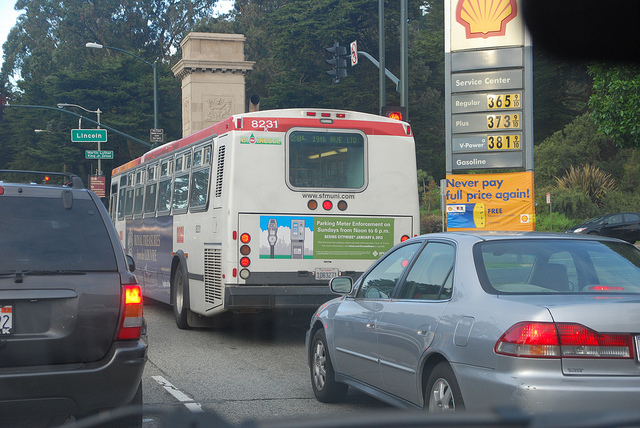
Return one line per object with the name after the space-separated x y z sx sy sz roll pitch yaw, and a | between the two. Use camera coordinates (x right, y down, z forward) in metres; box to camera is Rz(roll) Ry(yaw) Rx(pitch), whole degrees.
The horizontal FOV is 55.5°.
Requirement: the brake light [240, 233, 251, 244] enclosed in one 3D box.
-1.266 0.416 10.437 0.179 0.161 0.032 1 -2 -21 | brake light

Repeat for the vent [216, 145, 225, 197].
-1.765 -0.758 10.833 0.065 0.876 0.302 1 -2 -28 | vent

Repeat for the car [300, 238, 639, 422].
1.234 1.010 5.631 1.464 1.036 3.227 1 -1 -19 | car

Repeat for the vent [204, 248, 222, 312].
-1.867 1.196 10.827 0.158 1.400 1.054 3 -6 -24 | vent

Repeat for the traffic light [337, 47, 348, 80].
0.800 -5.482 21.939 0.294 0.978 0.593 0 -2 10 | traffic light

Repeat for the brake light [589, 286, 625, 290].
2.362 0.613 5.011 0.288 0.024 0.086 0 -2 -9 | brake light
